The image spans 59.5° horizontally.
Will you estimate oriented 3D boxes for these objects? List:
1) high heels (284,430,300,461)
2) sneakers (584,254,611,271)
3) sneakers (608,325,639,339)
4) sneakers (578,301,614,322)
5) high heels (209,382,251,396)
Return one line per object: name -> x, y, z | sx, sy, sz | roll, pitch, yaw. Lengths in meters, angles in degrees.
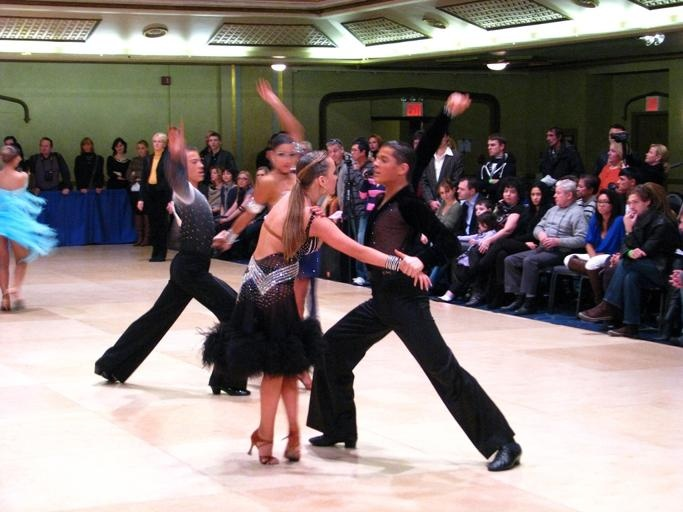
high heels -> -0.256, 1.090, 3.402 | 0.110, 0.163, 0.170 | 5, -15, -7
sneakers -> 3.244, 0.068, 7.120 | 0.285, 0.082, 0.165 | -28, 15, 1
sneakers -> 3.390, 0.846, 6.752 | 0.336, 0.205, 0.139 | 4, 0, 22
sneakers -> 3.178, 0.665, 6.943 | 0.413, 0.271, 0.170 | 3, -3, 15
high heels -> -0.895, 1.096, 4.844 | 0.345, 0.073, 0.126 | -3, 1, -1
